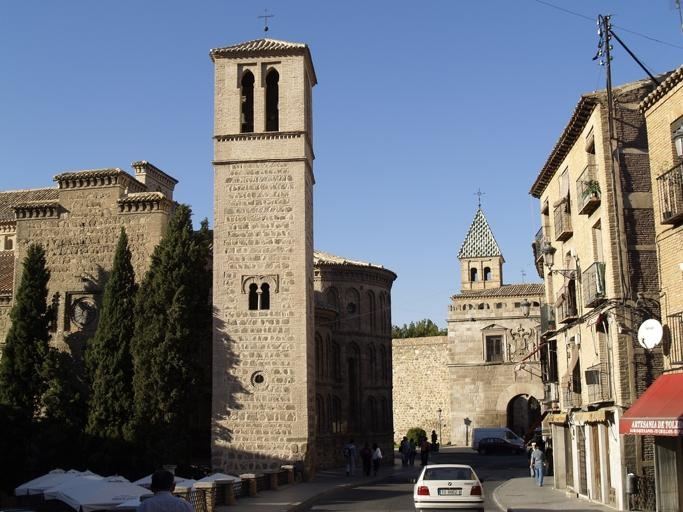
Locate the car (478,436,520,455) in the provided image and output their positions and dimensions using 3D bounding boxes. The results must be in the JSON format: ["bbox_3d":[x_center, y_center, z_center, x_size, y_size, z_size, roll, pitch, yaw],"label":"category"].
[{"bbox_3d":[9.901,12.013,77.992,2.000,0.795,1.161,-2,-4,0],"label":"car"}]

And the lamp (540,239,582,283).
[{"bbox_3d":[9.325,0.244,51.876,1.932,2.192,0.651,0,-1,23],"label":"lamp"}]

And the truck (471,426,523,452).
[{"bbox_3d":[10.189,11.725,78.665,2.508,1.159,1.696,-2,-6,5],"label":"truck"}]

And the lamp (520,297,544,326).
[{"bbox_3d":[13.069,3.711,85.166,1.365,1.666,1.215,-1,-13,2],"label":"lamp"}]
